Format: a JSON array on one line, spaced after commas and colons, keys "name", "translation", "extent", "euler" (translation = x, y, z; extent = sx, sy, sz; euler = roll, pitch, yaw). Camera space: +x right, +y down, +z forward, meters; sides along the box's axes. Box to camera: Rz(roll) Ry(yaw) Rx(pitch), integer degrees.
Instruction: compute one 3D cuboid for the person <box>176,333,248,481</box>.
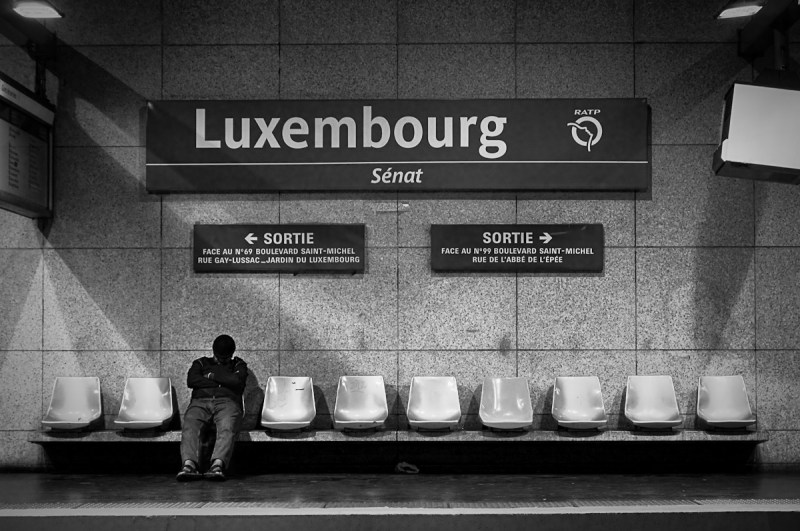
[{"name": "person", "translation": [-2.044, 1.542, 9.356], "extent": [0.661, 1.455, 0.783], "euler": [-2, 0, 0]}]
